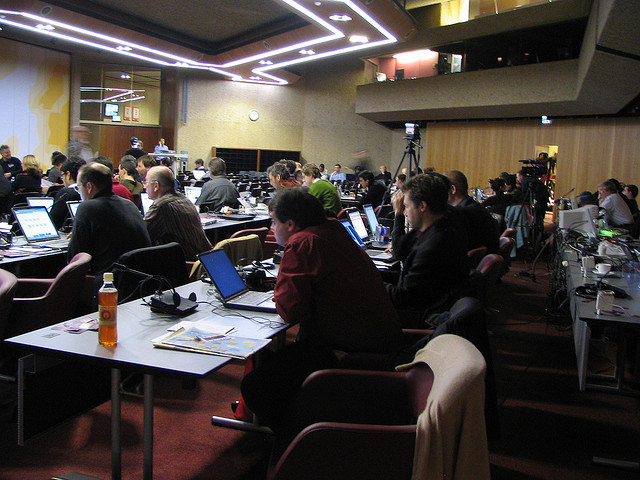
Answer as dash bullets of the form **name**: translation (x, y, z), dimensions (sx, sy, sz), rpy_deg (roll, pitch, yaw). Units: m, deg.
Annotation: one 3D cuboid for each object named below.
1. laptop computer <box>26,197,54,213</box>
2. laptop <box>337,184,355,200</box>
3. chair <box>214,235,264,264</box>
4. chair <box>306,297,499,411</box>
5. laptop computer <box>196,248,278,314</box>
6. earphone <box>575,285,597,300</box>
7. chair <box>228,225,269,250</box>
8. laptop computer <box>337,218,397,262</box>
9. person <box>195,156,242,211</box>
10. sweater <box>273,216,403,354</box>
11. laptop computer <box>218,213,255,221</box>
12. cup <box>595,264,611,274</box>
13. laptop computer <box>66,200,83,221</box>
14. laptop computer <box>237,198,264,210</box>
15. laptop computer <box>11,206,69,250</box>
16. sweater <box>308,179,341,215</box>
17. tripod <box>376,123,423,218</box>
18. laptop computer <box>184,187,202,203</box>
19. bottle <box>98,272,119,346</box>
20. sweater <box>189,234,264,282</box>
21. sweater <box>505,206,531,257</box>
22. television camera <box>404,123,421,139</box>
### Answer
- **laptop computer**: translation (-2.712, -0.338, 4.392), dimensions (0.174, 0.147, 0.228), rpy_deg (-9, 2, 20)
- **laptop**: translation (0.631, -1.081, 10.609), dimensions (0.329, 0.366, 0.171), rpy_deg (-6, -9, -3)
- **chair**: translation (-0.668, 0.053, 3.653), dimensions (0.277, 0.275, 0.243), rpy_deg (22, 27, 40)
- **chair**: translation (0.424, 0.395, 2.177), dimensions (0.792, 0.558, 0.623), rpy_deg (0, 1, 15)
- **laptop computer**: translation (-0.373, 0.226, 2.519), dimensions (0.527, 0.229, 0.492), rpy_deg (11, 6, 27)
- **earphone**: translation (1.716, 0.343, 2.920), dimensions (0.074, 0.031, 0.100), rpy_deg (-7, 12, -43)
- **chair**: translation (-0.706, -0.074, 4.398), dimensions (0.301, 0.298, 0.274), rpy_deg (20, 23, 41)
- **laptop computer**: translation (0.444, 0.011, 4.443), dimensions (0.294, 0.413, 0.465), rpy_deg (-22, -9, 19)
- **person**: translation (-1.485, -0.720, 6.516), dimensions (0.686, 0.873, 0.578), rpy_deg (-5, 27, -28)
- **sweater**: translation (0.093, 0.252, 2.418), dimensions (0.652, 0.695, 0.563), rpy_deg (-4, 7, 11)
- **laptop computer**: translation (-1.061, -0.288, 5.767), dimensions (0.449, 0.049, 0.345), rpy_deg (-1, 9, -16)
- **cup**: translation (2.177, 0.223, 3.481), dimensions (0.091, 0.058, 0.070), rpy_deg (-1, 3, 25)
- **laptop computer**: translation (-2.349, -0.290, 4.312), dimensions (0.113, 0.163, 0.418), rpy_deg (-4, 11, -28)
- **laptop computer**: translation (-1.045, -0.520, 6.631), dimensions (0.284, 0.194, 0.604), rpy_deg (1, 9, -5)
- **laptop computer**: translation (-2.311, -0.106, 3.945), dimensions (0.551, 0.295, 0.460), rpy_deg (10, 8, 10)
- **sweater**: translation (0.073, -0.627, 6.520), dimensions (0.475, 0.473, 0.514), rpy_deg (1, 10, 0)
- **tripod**: translation (1.389, -1.194, 7.025), dimensions (0.675, 1.179, 0.766), rpy_deg (-26, 36, -37)
- **laptop computer**: translation (-1.869, -0.661, 6.644), dimensions (0.215, 0.216, 0.508), rpy_deg (-2, 10, -16)
- **bottle**: translation (-0.899, 0.272, 1.905), dimensions (0.081, 0.295, 0.206), rpy_deg (-4, 12, -24)
- **sweater**: translation (-0.707, 0.082, 3.536), dimensions (0.461, 0.477, 0.400), rpy_deg (10, 16, 30)
- **sweater**: translation (3.280, -0.144, 7.510), dimensions (0.369, 0.770, 0.799), rpy_deg (-2, -2, 19)
- **television camera**: translation (1.356, -1.594, 6.631), dimensions (0.147, 0.233, 0.503), rpy_deg (6, 10, 20)
